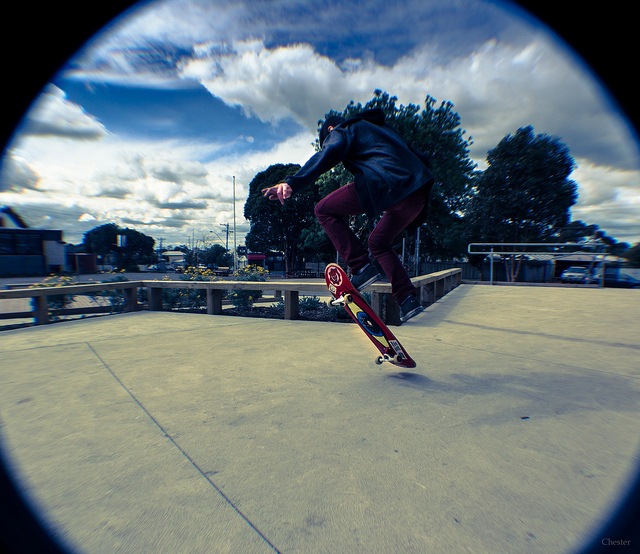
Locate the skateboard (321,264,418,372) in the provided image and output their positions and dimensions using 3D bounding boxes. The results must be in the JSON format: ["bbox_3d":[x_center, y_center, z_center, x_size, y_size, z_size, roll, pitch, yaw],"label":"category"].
[{"bbox_3d":[0.436,0.373,3.495,0.134,0.911,0.219,-35,-5,-40],"label":"skateboard"}]

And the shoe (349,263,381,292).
[{"bbox_3d":[0.308,0.012,2.800,0.092,0.114,0.263,-47,7,-34],"label":"shoe"}]

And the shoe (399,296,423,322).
[{"bbox_3d":[0.612,0.221,2.781,0.144,0.187,0.125,1,10,10],"label":"shoe"}]

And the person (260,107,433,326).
[{"bbox_3d":[0.293,-0.412,2.671,0.845,1.424,0.730,1,10,12],"label":"person"}]
